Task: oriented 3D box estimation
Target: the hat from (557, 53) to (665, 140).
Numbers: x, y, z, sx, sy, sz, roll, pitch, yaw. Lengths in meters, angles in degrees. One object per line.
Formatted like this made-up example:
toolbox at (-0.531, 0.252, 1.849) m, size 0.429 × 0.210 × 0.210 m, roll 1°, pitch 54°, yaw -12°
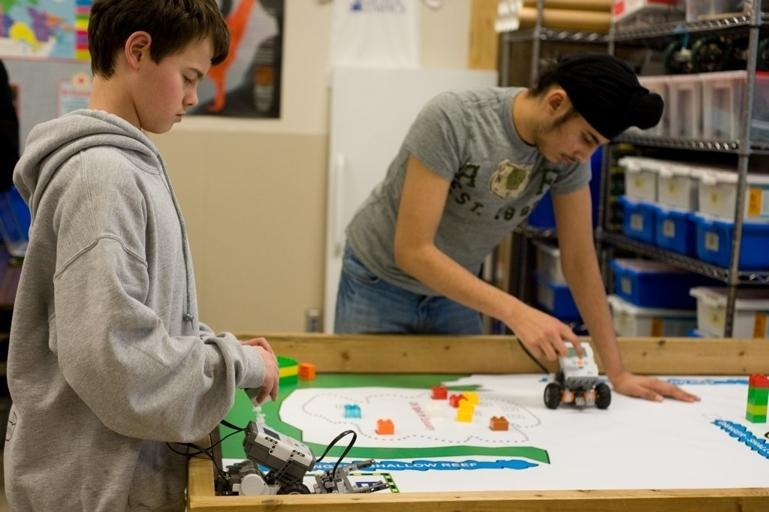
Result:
hat at (0.561, -0.391, 2.113) m, size 0.242 × 0.140 × 0.192 m, roll 31°, pitch 43°, yaw 0°

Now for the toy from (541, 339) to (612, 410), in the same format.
toy at (0.502, 0.314, 2.222) m, size 0.164 × 0.191 × 0.168 m, roll 1°, pitch 1°, yaw -6°
